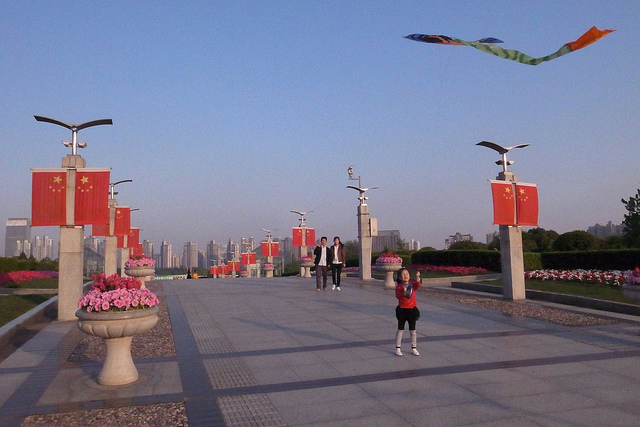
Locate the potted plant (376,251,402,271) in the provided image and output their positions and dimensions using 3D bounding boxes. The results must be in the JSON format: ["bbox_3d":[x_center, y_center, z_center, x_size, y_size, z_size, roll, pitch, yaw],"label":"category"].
[{"bbox_3d":[3.148,2.175,23.194,0.912,0.886,0.892,-1,-5,33],"label":"potted plant"}]

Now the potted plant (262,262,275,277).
[{"bbox_3d":[-4.201,4.376,39.156,1.133,1.102,1.113,-1,-6,5],"label":"potted plant"}]

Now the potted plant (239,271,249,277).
[{"bbox_3d":[-9.166,7.258,60.185,0.857,0.554,0.843,3,-6,-23],"label":"potted plant"}]

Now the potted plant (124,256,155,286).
[{"bbox_3d":[-7.895,2.414,21.915,1.109,1.256,1.116,-1,-8,3],"label":"potted plant"}]

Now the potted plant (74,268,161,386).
[{"bbox_3d":[-4.188,2.367,10.575,1.770,2.206,1.724,-4,-6,-13],"label":"potted plant"}]
